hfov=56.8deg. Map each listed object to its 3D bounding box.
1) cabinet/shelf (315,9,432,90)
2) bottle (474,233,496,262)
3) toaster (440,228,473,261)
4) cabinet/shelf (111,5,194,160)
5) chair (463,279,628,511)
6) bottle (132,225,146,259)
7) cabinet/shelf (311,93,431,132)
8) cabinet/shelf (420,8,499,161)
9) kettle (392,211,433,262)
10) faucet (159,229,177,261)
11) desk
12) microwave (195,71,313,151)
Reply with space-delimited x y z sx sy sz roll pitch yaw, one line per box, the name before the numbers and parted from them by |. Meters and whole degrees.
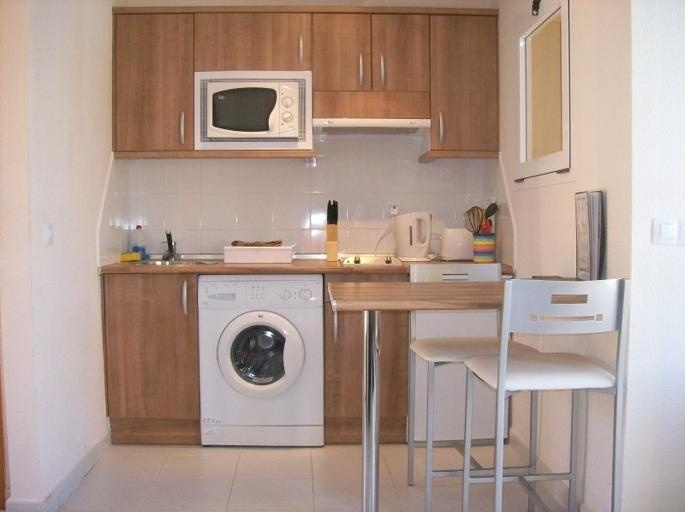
cabinet/shelf | 0.188 -1.250 3.901 0.752 0.498 0.429 1 6 -1
bottle | 0.863 -0.048 3.869 0.153 0.181 0.157 -1 5 -15
toaster | 0.713 -0.062 3.967 0.183 0.197 0.185 -4 -4 40
cabinet/shelf | -1.162 -1.058 3.869 0.471 0.809 0.185 0 14 2
chair | 0.876 0.670 2.815 0.684 1.297 0.668 0 14 1
bottle | -1.341 -0.088 4.149 0.086 0.210 0.177 -3 15 -12
cabinet/shelf | 0.174 -0.867 4.000 0.719 0.259 0.232 1 -11 2
cabinet/shelf | 0.811 -1.199 4.118 0.463 0.940 0.526 2 38 14
kettle | 0.423 -0.135 4.023 0.289 0.311 0.126 13 19 41
faucet | -1.152 -0.072 4.168 0.096 0.188 0.147 -4 15 -15
desk | 0.418 0.654 2.737 0.908 0.909 0.937 0 5 -1
microwave | -0.549 -0.908 3.858 0.725 0.525 0.458 -1 -1 -1
